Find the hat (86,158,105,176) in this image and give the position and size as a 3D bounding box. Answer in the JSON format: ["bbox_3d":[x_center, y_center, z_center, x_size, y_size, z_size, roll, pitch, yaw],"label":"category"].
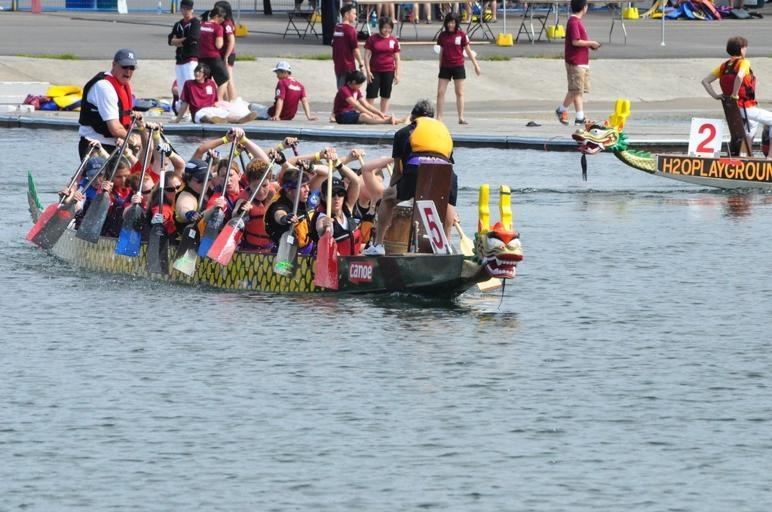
[{"bbox_3d":[-3.557,-1.087,18.269,0.193,0.248,0.259,12,22,-19],"label":"hat"}]

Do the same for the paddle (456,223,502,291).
[{"bbox_3d":[0.989,0.032,17.218,0.305,0.142,1.079,-13,39,-11],"label":"paddle"}]

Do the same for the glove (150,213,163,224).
[{"bbox_3d":[-2.609,-0.412,17.034,0.130,0.109,0.085,-3,4,0],"label":"glove"}]

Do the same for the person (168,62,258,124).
[{"bbox_3d":[-3.196,-2.877,27.478,1.569,0.841,1.036,12,19,41],"label":"person"}]

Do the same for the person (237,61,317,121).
[{"bbox_3d":[-2.238,-3.044,28.518,1.120,1.006,1.791,-2,2,-43],"label":"person"}]

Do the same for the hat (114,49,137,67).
[{"bbox_3d":[-3.191,-2.376,18.305,0.227,0.156,0.312,6,5,-30],"label":"hat"}]

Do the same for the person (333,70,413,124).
[{"bbox_3d":[-0.301,-2.763,27.127,1.403,0.881,0.730,15,14,35],"label":"person"}]

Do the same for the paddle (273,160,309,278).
[{"bbox_3d":[-1.063,-0.380,16.532,0.267,1.165,0.534,7,17,22],"label":"paddle"}]

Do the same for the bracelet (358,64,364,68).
[{"bbox_3d":[-0.504,-3.502,28.003,0.078,0.061,0.074,-2,4,-24],"label":"bracelet"}]

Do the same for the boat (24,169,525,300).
[{"bbox_3d":[-1.689,-0.245,17.263,7.406,1.103,1.598,3,6,24],"label":"boat"}]

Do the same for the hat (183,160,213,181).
[{"bbox_3d":[-2.173,-0.988,17.124,0.294,0.204,0.204,18,31,35],"label":"hat"}]

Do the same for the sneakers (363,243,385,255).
[{"bbox_3d":[-0.156,-0.072,16.674,0.114,0.104,0.269,2,1,-25],"label":"sneakers"}]
